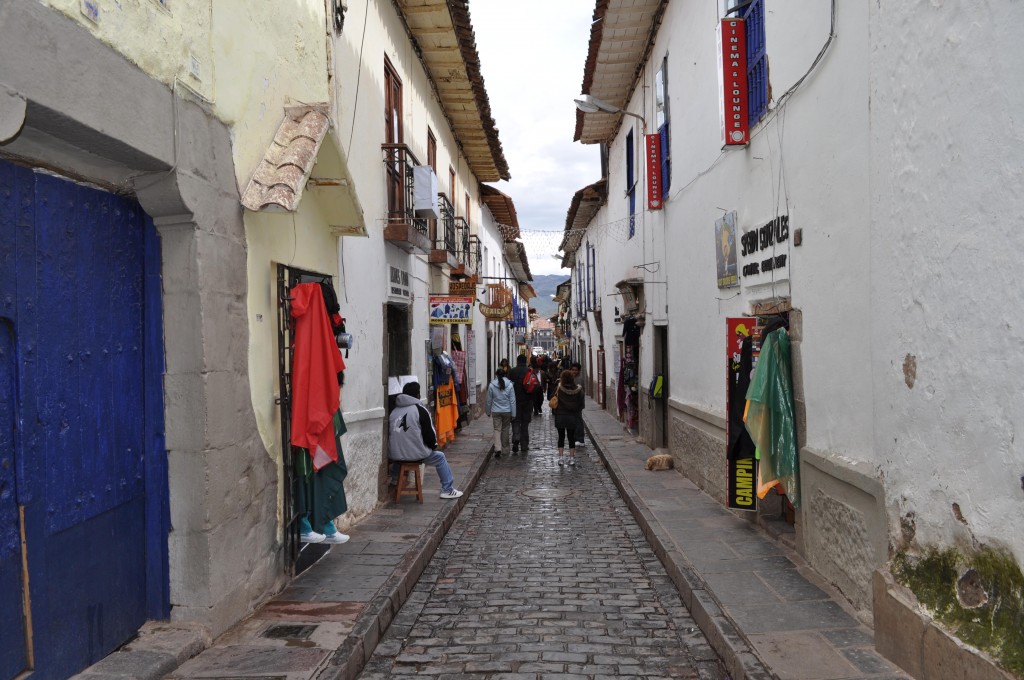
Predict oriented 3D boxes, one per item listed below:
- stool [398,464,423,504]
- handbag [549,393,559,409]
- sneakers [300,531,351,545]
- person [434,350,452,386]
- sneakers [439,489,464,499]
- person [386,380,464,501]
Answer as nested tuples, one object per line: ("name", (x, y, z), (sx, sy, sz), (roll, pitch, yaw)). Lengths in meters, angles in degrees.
("stool", (-1.361, 1.903, 10.395), (0.381, 0.615, 0.436), (0, -7, -1))
("handbag", (0.806, 1.189, 14.840), (0.191, 0.461, 0.327), (3, -8, 0))
("sneakers", (-1.838, 1.929, 7.535), (0.448, 0.221, 0.162), (1, 0, -3))
("person", (-1.357, 0.531, 14.758), (0.258, 0.826, 0.624), (0, -2, 16))
("sneakers", (-0.835, 2.043, 10.321), (0.303, 0.150, 0.130), (-3, 3, -5))
("person", (-1.204, 1.324, 10.389), (0.953, 1.592, 0.873), (3, -7, -35))
